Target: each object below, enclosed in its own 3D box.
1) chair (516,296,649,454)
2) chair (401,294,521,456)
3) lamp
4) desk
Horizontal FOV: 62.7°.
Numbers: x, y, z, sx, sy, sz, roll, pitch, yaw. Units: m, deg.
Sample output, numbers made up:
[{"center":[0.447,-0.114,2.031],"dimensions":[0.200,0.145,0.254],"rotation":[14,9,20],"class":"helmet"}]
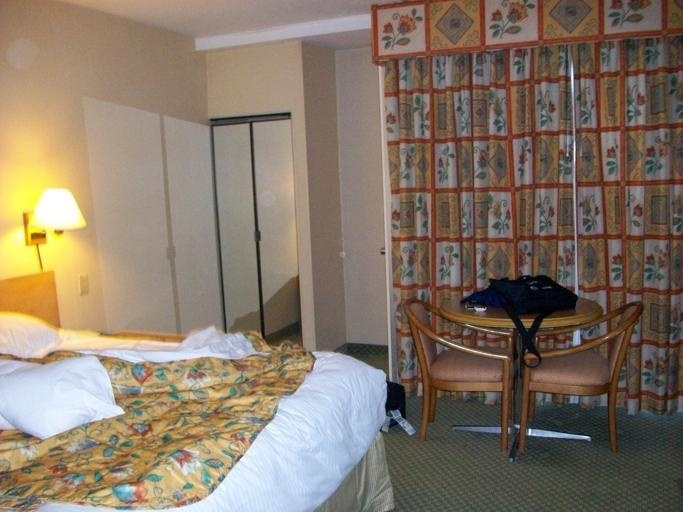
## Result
[{"center":[1.740,0.865,4.154],"dimensions":[0.818,0.995,0.943],"rotation":[-2,3,19],"class":"chair"},{"center":[0.934,0.861,4.257],"dimensions":[0.813,0.966,0.863],"rotation":[-2,5,8],"class":"chair"},{"center":[-2.114,-0.156,4.093],"dimensions":[0.342,0.503,0.324],"rotation":[-10,-4,-11],"class":"lamp"},{"center":[1.352,0.904,4.236],"dimensions":[1.278,1.034,1.252],"rotation":[-5,3,-14],"class":"desk"}]
